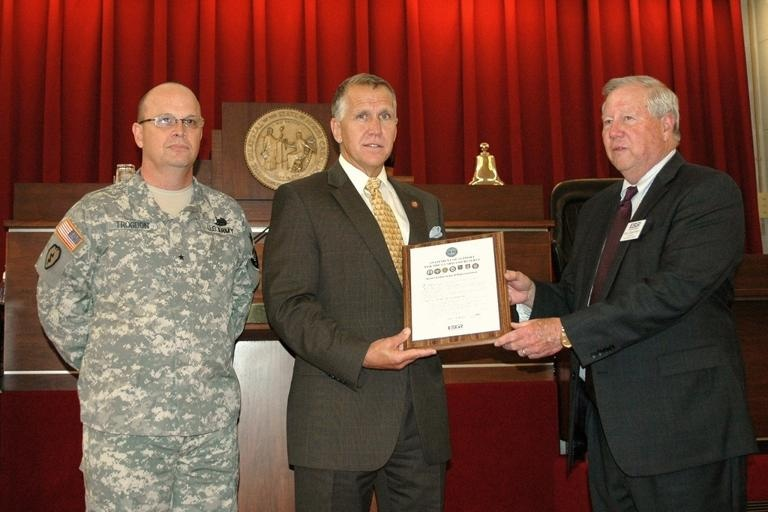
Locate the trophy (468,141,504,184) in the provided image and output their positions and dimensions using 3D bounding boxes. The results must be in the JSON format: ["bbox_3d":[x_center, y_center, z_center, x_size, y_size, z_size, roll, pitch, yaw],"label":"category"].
[{"bbox_3d":[0.739,-0.675,5.519,0.288,0.295,0.221,5,31,31],"label":"trophy"}]

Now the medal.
[{"bbox_3d":[-0.590,-0.620,4.657,0.597,0.471,0.311,-2,7,-31],"label":"medal"}]

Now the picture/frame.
[{"bbox_3d":[0.343,0.191,3.704,0.623,0.536,0.146,-9,-10,-3],"label":"picture/frame"}]

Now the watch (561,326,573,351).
[{"bbox_3d":[0.908,0.414,3.889,0.028,0.102,0.112,-15,11,-12],"label":"watch"}]
